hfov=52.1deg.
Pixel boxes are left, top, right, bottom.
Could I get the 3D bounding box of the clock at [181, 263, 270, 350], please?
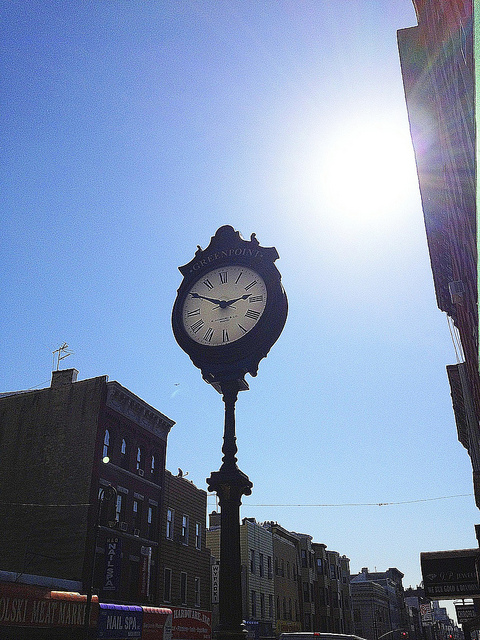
[{"bbox_3d":[-0.208,-0.165,9.071,1.163,1.526,0.122,-15,-38,21],"label":"clock"}]
